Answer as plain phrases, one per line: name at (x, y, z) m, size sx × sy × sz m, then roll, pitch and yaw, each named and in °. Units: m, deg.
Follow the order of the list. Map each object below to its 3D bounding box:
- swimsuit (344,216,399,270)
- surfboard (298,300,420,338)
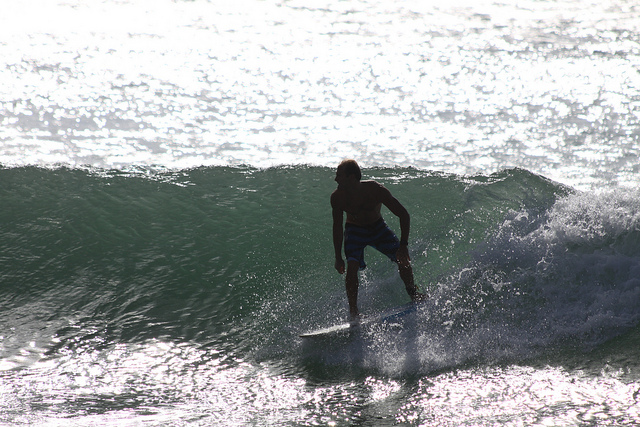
swimsuit at (1.106, 0.675, 17.719) m, size 1.464 × 0.988 × 0.458 m, roll -11°, pitch -16°, yaw -17°
surfboard at (0.831, 2.284, 17.364) m, size 2.473 × 0.150 × 0.269 m, roll -12°, pitch 27°, yaw 3°
